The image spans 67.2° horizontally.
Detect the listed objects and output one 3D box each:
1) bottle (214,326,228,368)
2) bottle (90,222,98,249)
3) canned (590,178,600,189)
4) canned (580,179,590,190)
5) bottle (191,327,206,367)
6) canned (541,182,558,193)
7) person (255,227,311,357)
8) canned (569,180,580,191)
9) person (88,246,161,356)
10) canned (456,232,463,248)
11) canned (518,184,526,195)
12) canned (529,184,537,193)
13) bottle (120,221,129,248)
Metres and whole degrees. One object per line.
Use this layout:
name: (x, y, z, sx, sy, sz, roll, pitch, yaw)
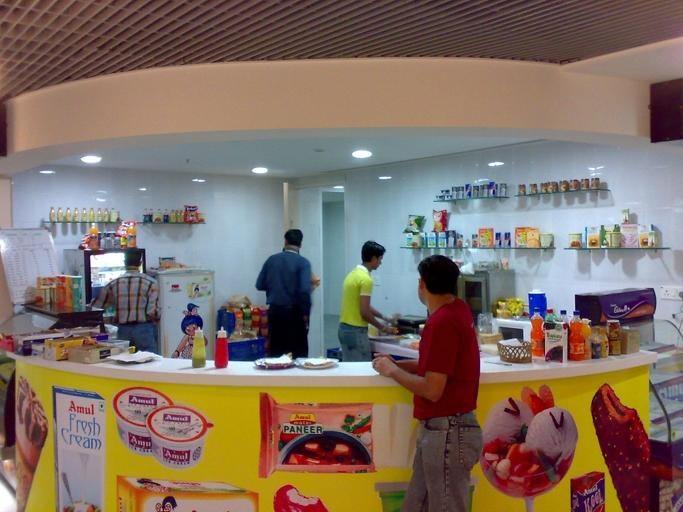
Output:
bottle: (-0.839, 0.644, 3.626, 0.092, 0.277, 0.228, -2, 0, -15)
bottle: (-3.137, -0.224, 6.594, 0.112, 0.312, 0.252, -2, 0, -26)
canned: (2.607, -0.739, 5.273, 0.075, 0.116, 0.036, -2, 0, 35)
canned: (2.536, -0.745, 5.350, 0.093, 0.127, 0.043, -1, 0, 35)
bottle: (-0.997, 0.644, 3.636, 0.091, 0.271, 0.226, -2, 0, -16)
canned: (2.265, -0.744, 5.592, 0.195, 0.128, 0.063, -1, 0, 31)
person: (-0.637, 0.616, 6.042, 0.662, 1.851, 0.480, 7, 12, 19)
canned: (2.470, -0.747, 5.424, 0.114, 0.119, 0.045, -1, 0, 33)
person: (-2.298, 0.785, 5.673, 0.636, 1.725, 0.436, 2, 9, 7)
canned: (1.471, -0.190, 6.356, 0.084, 0.168, 0.061, -2, 0, 11)
canned: (2.057, -0.748, 5.825, 0.095, 0.128, 0.054, -2, 0, 22)
canned: (2.140, -0.748, 5.711, 0.086, 0.111, 0.094, -2, 1, 19)
bottle: (-2.916, -0.293, 6.967, 0.134, 0.350, 0.283, -2, 0, -21)
